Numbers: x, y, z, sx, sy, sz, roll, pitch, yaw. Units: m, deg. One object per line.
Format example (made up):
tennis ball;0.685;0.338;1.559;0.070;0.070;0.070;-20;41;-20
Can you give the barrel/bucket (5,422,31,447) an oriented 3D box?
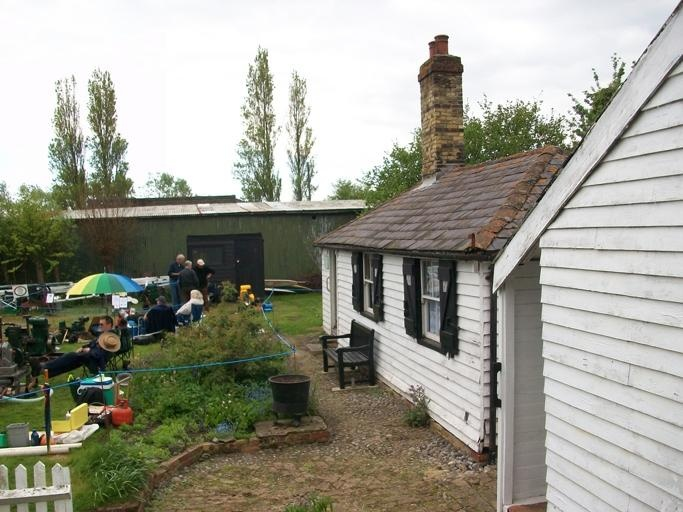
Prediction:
barrel/bucket;-4.847;2.699;9.804;0.311;0.358;0.315;0;-5;0

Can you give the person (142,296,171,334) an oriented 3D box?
person;-4.804;1.555;16.799;0.821;1.290;0.651;2;16;-6

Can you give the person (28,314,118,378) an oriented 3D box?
person;-4.693;1.678;12.015;1.214;1.040;1.500;-4;5;-9

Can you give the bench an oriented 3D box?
bench;0.180;2.136;14.074;1.106;1.138;1.773;-4;5;-5

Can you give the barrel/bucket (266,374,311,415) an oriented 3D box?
barrel/bucket;-0.851;2.361;11.035;0.615;0.486;0.664;-1;-5;0

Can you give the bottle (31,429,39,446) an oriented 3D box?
bottle;-4.577;2.721;9.738;0.134;0.226;0.151;-7;6;-36

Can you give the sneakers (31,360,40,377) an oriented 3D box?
sneakers;-6.083;2.227;12.890;0.112;0.355;0.238;2;10;-4

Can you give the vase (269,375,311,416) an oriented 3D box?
vase;-0.867;2.369;10.859;0.648;0.485;0.674;-1;-5;3
